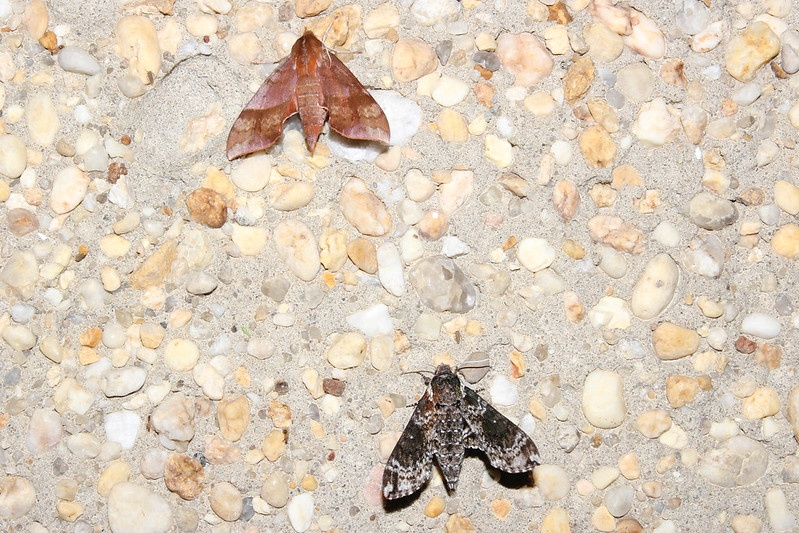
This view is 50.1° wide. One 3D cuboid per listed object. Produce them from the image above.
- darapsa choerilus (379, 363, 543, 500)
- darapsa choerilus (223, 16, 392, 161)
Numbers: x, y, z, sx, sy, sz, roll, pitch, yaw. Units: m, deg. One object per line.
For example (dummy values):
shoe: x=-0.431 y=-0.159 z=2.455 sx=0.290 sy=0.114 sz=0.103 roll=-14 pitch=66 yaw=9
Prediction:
darapsa choerilus: x=0.129 y=0.440 z=2.348 sx=0.419 sy=0.124 sz=0.355 roll=-7 pitch=67 yaw=-12
darapsa choerilus: x=-0.264 y=-0.483 z=2.309 sx=0.410 sy=0.116 sz=0.361 roll=-2 pitch=94 yaw=2
